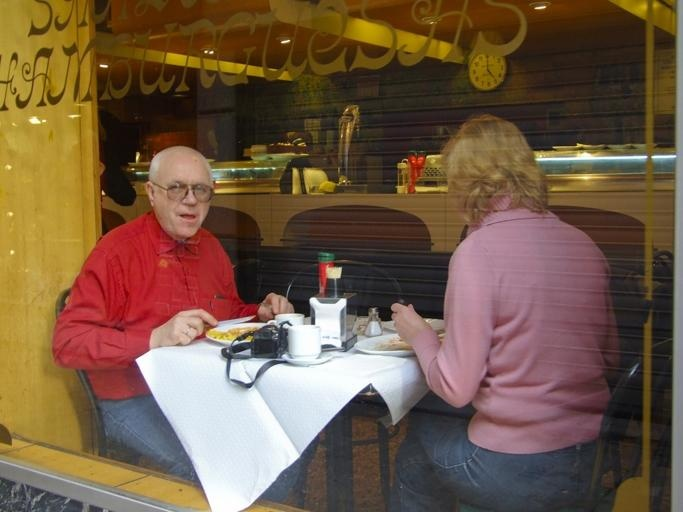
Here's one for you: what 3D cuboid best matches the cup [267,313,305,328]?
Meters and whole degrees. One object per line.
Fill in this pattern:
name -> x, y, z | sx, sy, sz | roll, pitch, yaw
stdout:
cup -> -0.164, 0.188, 1.740 | 0.058, 0.036, 0.054 | 1, -4, 0

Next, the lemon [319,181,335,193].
lemon -> -0.035, -0.178, 1.492 | 0.042, 0.029, 0.016 | -1, 8, 0

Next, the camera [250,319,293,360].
camera -> -0.184, 0.218, 1.595 | 0.104, 0.093, 0.102 | 3, 5, 14

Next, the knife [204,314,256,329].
knife -> -0.362, 0.213, 1.895 | 0.186, 0.023, 0.024 | -10, -3, -22

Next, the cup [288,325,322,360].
cup -> -0.096, 0.224, 1.507 | 0.091, 0.064, 0.087 | 1, -1, 0

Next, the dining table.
dining table -> -0.191, 0.349, 1.649 | 0.685, 0.301, 0.487 | 3, 3, 26

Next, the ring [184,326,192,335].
ring -> -0.447, 0.218, 1.701 | 0.025, 0.020, 0.009 | 4, -9, -35
